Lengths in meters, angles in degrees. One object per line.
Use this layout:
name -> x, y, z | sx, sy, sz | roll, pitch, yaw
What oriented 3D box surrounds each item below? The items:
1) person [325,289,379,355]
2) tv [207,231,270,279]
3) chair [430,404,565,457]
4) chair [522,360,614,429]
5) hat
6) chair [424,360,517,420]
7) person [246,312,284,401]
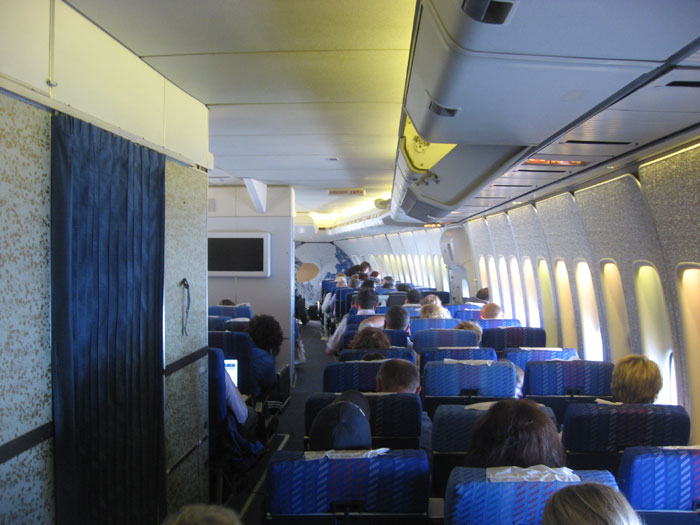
person -> 0.192, 1.014, 8.647 | 0.922, 1.142, 0.715 | 1, -9, 26
tv -> -1.892, -0.066, 9.114 | 1.004, 0.680, 0.117 | -1, -3, -30
chair -> 0.762, 0.901, 2.903 | 0.487, 0.238, 0.358 | 0, 0, 2
chair -> 1.838, 1.131, 4.737 | 0.719, 0.696, 0.540 | -1, 6, 11
hat -> -0.046, 0.877, 3.029 | 0.224, 0.158, 0.404 | 0, -5, -1
chair -> 1.029, 1.115, 4.677 | 0.779, 0.696, 0.418 | -2, 6, 9
person -> -1.073, 1.086, 6.418 | 0.552, 0.936, 0.625 | 4, 12, 7
